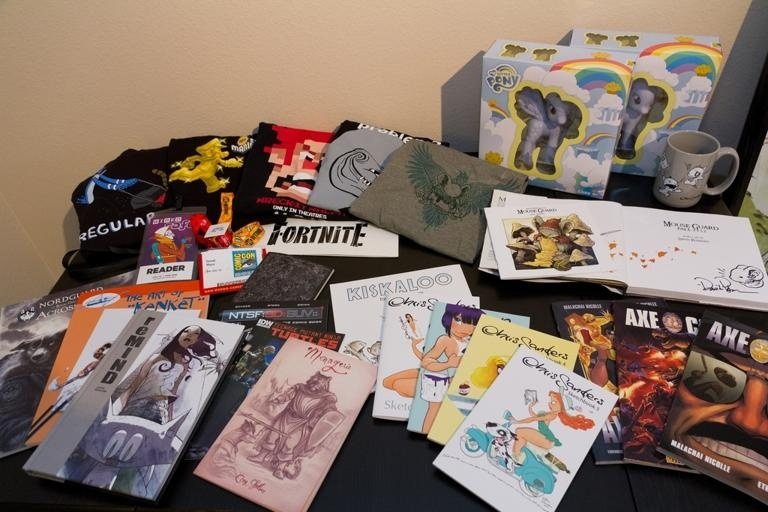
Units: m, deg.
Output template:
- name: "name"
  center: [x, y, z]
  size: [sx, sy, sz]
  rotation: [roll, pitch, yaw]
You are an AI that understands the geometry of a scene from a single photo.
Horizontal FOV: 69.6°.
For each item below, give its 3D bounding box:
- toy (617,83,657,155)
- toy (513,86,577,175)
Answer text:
- name: "toy"
  center: [0.630, -0.338, 1.378]
  size: [0.060, 0.203, 0.044]
  rotation: [13, 48, 19]
- name: "toy"
  center: [0.399, -0.310, 1.378]
  size: [0.160, 0.211, 0.065]
  rotation: [8, 47, 14]
